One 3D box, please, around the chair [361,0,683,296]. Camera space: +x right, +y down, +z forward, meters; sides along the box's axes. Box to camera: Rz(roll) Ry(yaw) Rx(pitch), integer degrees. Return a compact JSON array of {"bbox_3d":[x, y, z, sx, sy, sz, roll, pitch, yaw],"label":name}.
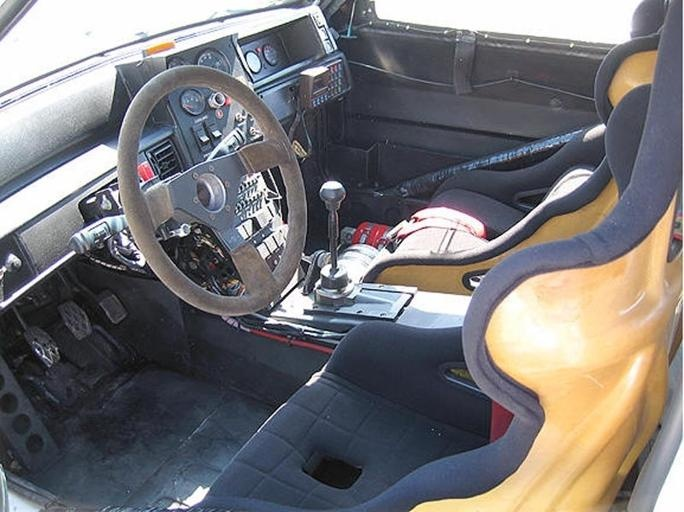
[{"bbox_3d":[0.561,-0.414,1.719,0.773,1.005,0.681,14,45,37],"label":"chair"}]
